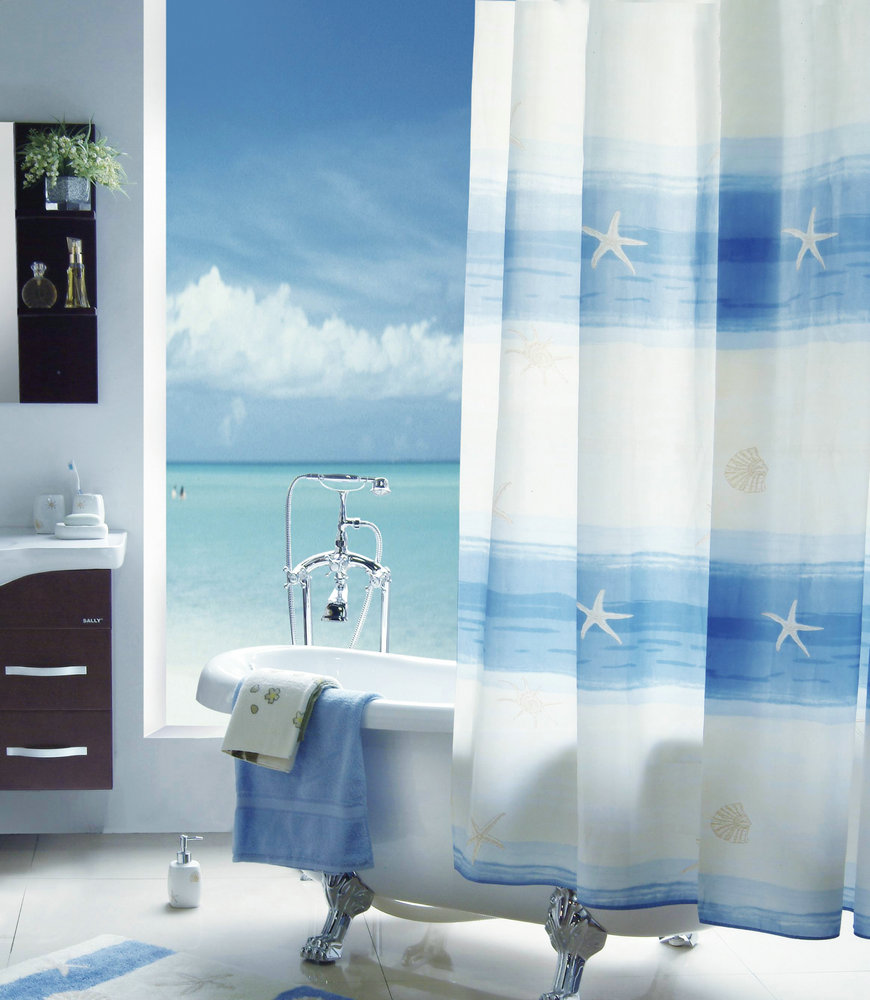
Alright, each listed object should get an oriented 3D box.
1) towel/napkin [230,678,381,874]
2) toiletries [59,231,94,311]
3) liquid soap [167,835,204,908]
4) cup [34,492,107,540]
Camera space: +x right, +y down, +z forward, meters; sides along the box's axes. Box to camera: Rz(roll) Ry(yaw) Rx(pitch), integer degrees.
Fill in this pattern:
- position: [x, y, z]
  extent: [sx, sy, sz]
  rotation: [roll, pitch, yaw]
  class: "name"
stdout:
- position: [-0.276, 0.599, 2.558]
  extent: [0.330, 0.393, 0.111]
  rotation: [1, -3, 32]
  class: "towel/napkin"
- position: [-1.011, -0.641, 3.377]
  extent: [0.070, 0.208, 0.022]
  rotation: [2, 4, 10]
  class: "toiletries"
- position: [-0.611, 0.903, 2.912]
  extent: [0.069, 0.177, 0.064]
  rotation: [4, 8, -4]
  class: "liquid soap"
- position: [-1.005, 0.044, 3.304]
  extent: [0.204, 0.118, 0.217]
  rotation: [1, 4, 0]
  class: "cup"
